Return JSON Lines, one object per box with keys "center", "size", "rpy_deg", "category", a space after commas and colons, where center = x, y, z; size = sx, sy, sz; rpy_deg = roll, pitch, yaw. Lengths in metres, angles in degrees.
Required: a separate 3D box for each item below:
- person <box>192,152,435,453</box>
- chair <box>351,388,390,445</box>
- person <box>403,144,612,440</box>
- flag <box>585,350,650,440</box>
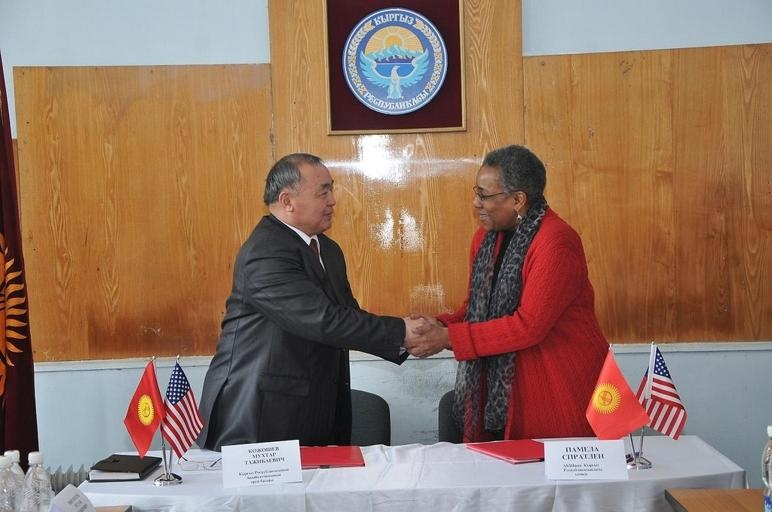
{"center": [-0.465, 0.233, 4.173], "size": [1.033, 1.502, 0.363], "rpy_deg": [-4, 3, -17], "category": "person"}
{"center": [-0.098, 0.917, 4.707], "size": [0.233, 0.294, 0.325], "rpy_deg": [-1, 24, -3], "category": "chair"}
{"center": [0.689, 0.451, 4.485], "size": [0.990, 2.062, 0.907], "rpy_deg": [-1, 11, 11], "category": "person"}
{"center": [1.026, 0.646, 3.775], "size": [0.316, 0.512, 0.020], "rpy_deg": [-11, 20, 9], "category": "flag"}
